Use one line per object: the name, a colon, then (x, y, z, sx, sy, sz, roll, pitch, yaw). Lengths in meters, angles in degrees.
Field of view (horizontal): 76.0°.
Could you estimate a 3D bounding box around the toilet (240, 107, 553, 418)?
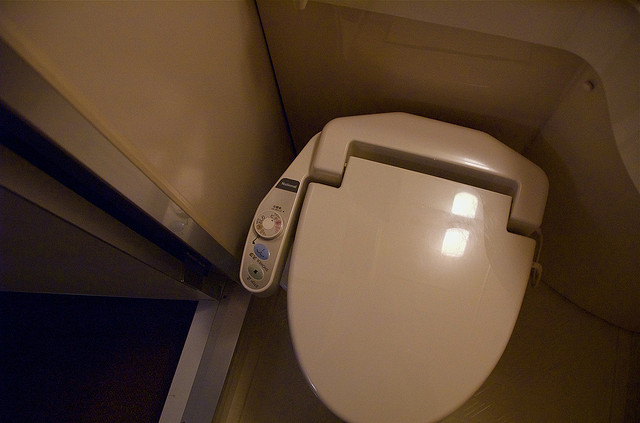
toilet: (0.156, 0.099, 1.020, 0.683, 0.547, 0.530, 20, 34, 14)
